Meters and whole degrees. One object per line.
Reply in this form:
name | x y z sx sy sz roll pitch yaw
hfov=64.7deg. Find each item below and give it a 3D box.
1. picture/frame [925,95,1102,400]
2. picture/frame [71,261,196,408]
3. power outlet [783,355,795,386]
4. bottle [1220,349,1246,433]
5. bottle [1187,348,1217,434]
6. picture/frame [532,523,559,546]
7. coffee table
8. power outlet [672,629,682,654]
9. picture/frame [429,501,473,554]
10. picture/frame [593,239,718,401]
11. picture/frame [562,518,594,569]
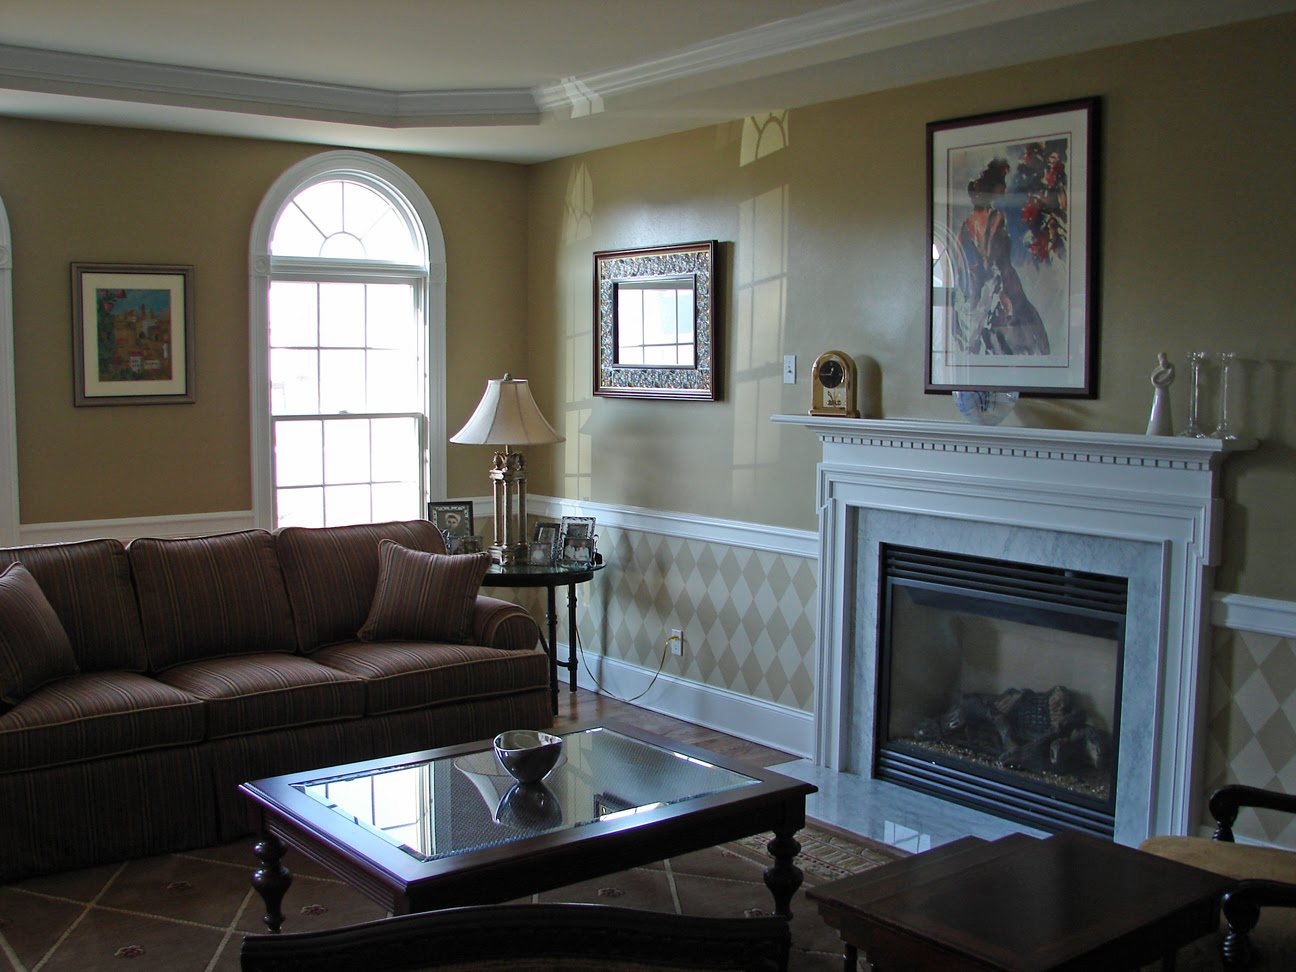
picture/frame | 1.486 -0.959 4.221 0.104 1.148 0.790 -8 12 -44
picture/frame | -2.757 -0.820 5.436 0.719 1.013 0.068 -2 4 -34
power outlet | 0.690 -0.570 5.035 0.022 0.143 0.095 -5 10 -32
bottle | 2.107 -0.335 3.696 0.084 0.288 0.057 4 9 22
bottle | 2.028 -0.346 3.762 0.105 0.292 0.059 6 10 35
picture/frame | -0.580 0.272 5.912 0.151 0.165 0.114 3 3 38
coffee table | -0.382 1.154 3.322 1.617 0.423 1.010 -5 10 -30
power outlet | 0.159 0.864 5.699 0.022 0.143 0.089 -7 11 -40
picture/frame | -1.108 0.238 5.712 0.253 0.375 0.029 -1 -3 -32
picture/frame | 0.037 -0.902 5.683 0.904 0.856 0.053 -9 12 -40
picture/frame | -0.379 0.334 5.830 0.238 0.327 0.228 0 -1 12
